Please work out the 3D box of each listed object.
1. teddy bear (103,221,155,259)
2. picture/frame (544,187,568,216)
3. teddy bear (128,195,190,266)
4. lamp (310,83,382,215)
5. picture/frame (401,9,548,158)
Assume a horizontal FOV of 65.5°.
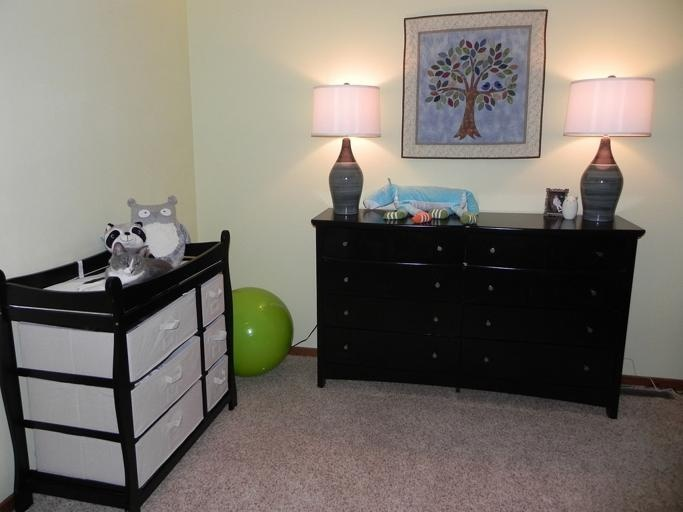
[{"bbox_3d":[-1.149,-0.070,2.832,0.208,0.202,0.238,-10,-10,-33],"label":"teddy bear"},{"bbox_3d":[1.378,-0.350,3.391,0.152,0.215,0.028,11,11,31],"label":"picture/frame"},{"bbox_3d":[-1.028,-0.098,2.991,0.352,0.261,0.460,-9,63,-21],"label":"teddy bear"},{"bbox_3d":[0.031,-0.680,3.408,0.425,0.800,0.294,0,15,-2],"label":"lamp"},{"bbox_3d":[0.903,-1.159,3.456,0.847,0.923,0.020,2,11,13],"label":"picture/frame"}]
